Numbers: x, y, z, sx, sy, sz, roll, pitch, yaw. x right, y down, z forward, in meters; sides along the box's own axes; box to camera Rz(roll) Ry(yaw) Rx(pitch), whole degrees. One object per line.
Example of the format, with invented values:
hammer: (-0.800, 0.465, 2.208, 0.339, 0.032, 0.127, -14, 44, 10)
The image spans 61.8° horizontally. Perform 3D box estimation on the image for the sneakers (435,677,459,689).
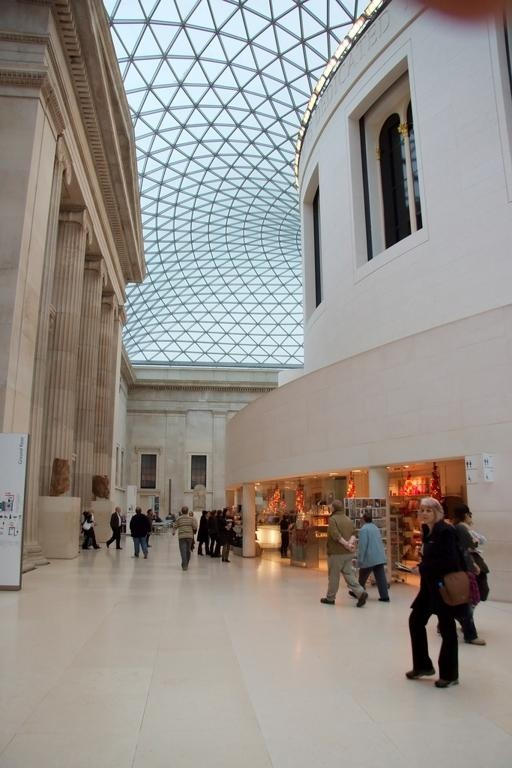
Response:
sneakers: (1.958, 3.031, 4.392, 0.249, 0.154, 0.108, 15, -23, -23)

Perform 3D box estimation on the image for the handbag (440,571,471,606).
handbag: (1.987, 2.045, 4.299, 0.213, 0.328, 0.106, -4, -14, -12)

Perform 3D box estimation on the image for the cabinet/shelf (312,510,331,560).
cabinet/shelf: (2.590, 6.466, 17.598, 0.656, 1.565, 0.835, 5, -27, -14)

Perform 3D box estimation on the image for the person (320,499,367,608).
person: (1.863, 3.629, 9.324, 0.930, 2.070, 1.417, -3, -14, 15)

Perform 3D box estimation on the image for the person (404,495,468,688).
person: (1.887, 2.159, 4.530, 0.364, 1.801, 0.512, 10, -18, -17)
